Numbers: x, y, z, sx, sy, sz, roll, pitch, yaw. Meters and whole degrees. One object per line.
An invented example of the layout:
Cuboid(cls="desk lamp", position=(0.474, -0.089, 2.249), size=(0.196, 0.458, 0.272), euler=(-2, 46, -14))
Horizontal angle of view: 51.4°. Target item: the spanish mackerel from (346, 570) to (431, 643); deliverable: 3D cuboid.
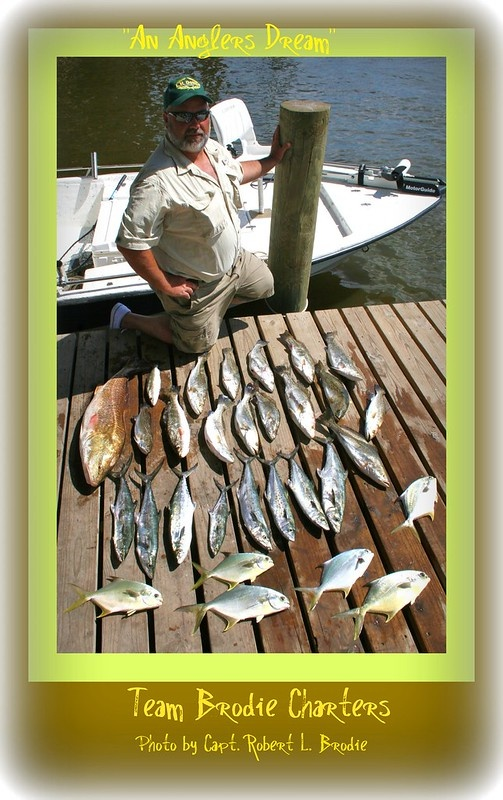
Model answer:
Cuboid(cls="spanish mackerel", position=(0.543, 0.786, 2.100), size=(0.442, 0.114, 0.150), euler=(-15, 39, -30))

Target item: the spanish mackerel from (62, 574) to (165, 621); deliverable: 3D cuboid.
Cuboid(cls="spanish mackerel", position=(-0.504, 0.793, 2.134), size=(0.456, 0.148, 0.230), euler=(1, 58, 1))

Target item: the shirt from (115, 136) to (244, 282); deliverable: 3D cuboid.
Cuboid(cls="shirt", position=(-0.352, -0.886, 2.611), size=(0.654, 0.705, 0.288), euler=(-5, 33, -19))

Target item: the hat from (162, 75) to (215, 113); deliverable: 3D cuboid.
Cuboid(cls="hat", position=(-0.335, -1.444, 2.488), size=(0.153, 0.117, 0.224), euler=(-17, 45, -14))
